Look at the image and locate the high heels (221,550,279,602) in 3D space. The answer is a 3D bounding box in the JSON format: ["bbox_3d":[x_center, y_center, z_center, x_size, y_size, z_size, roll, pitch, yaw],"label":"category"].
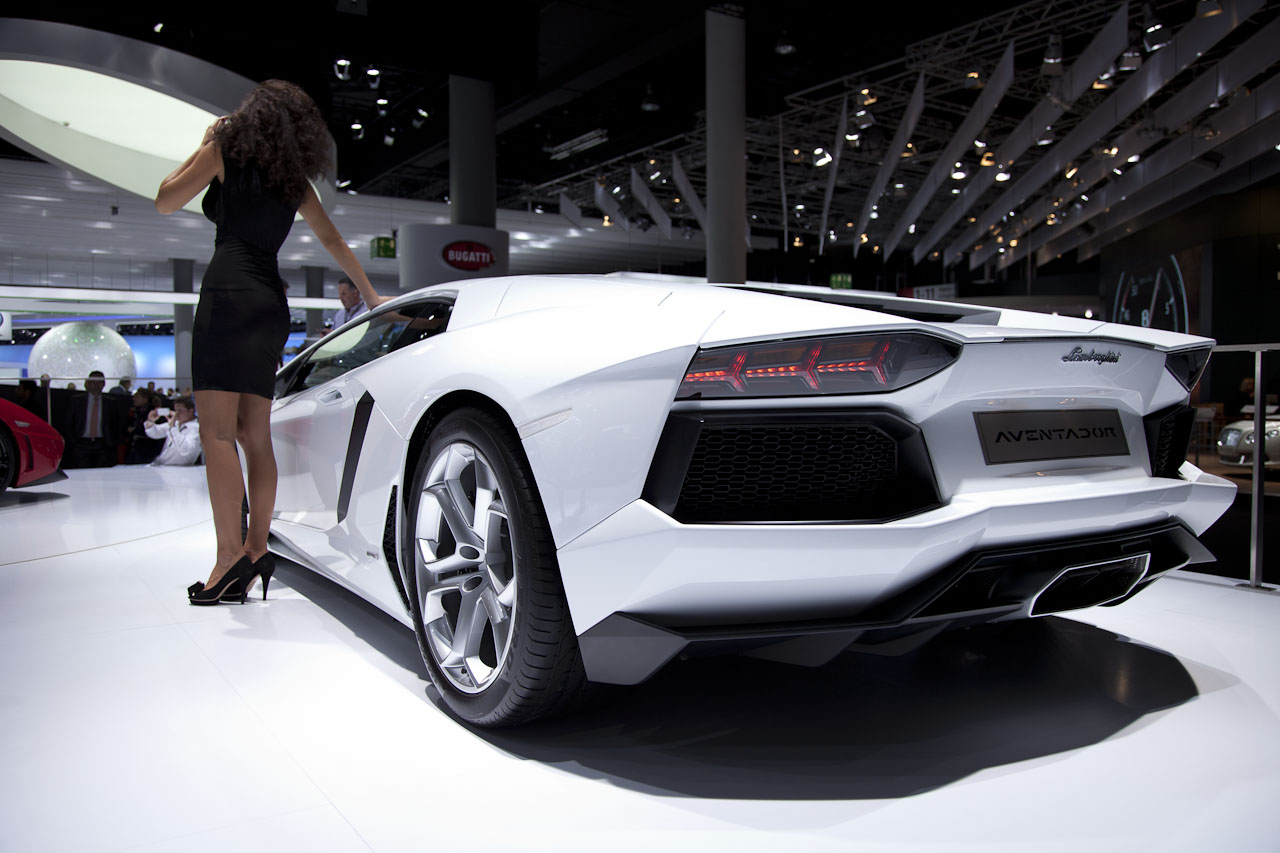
[{"bbox_3d":[-1.825,0.724,3.248,0.149,0.346,0.107,6,-12,-8],"label":"high heels"}]
